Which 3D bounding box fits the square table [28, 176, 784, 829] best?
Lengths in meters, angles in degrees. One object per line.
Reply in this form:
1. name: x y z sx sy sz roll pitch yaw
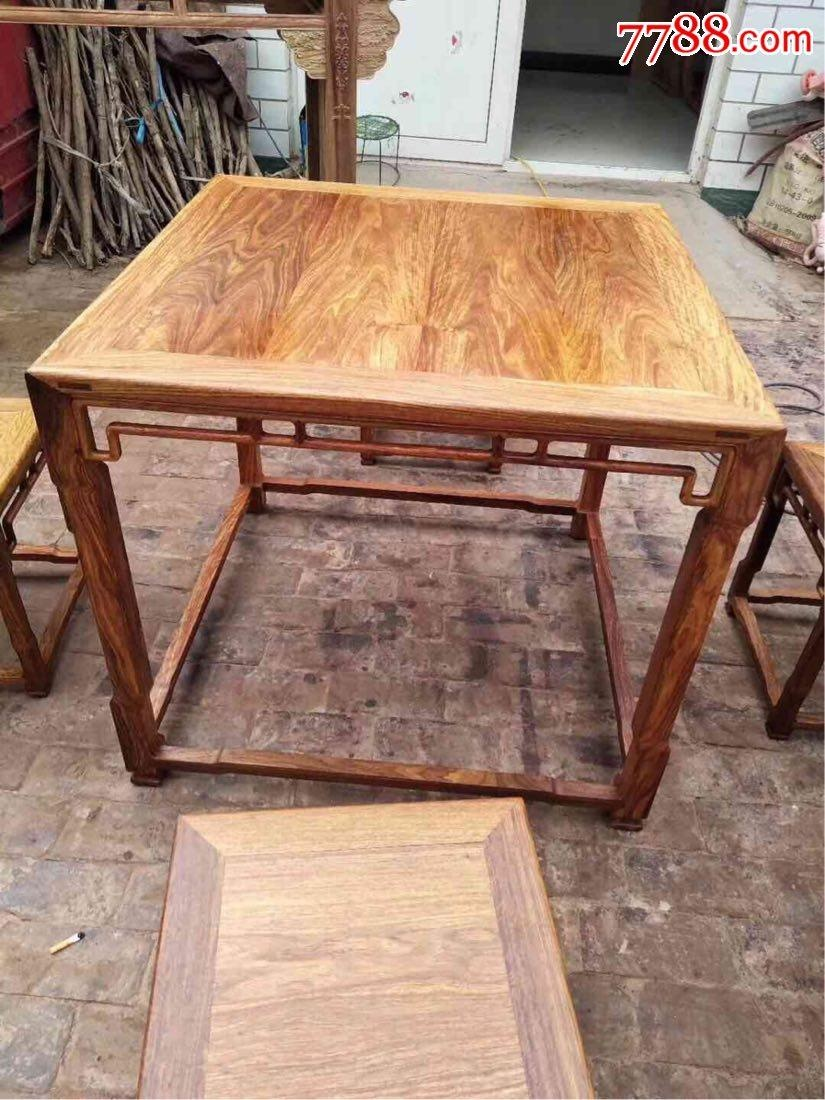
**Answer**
1. square table: -0.008 -0.135 1.825 1.192 1.020 1.037 4 37 2
